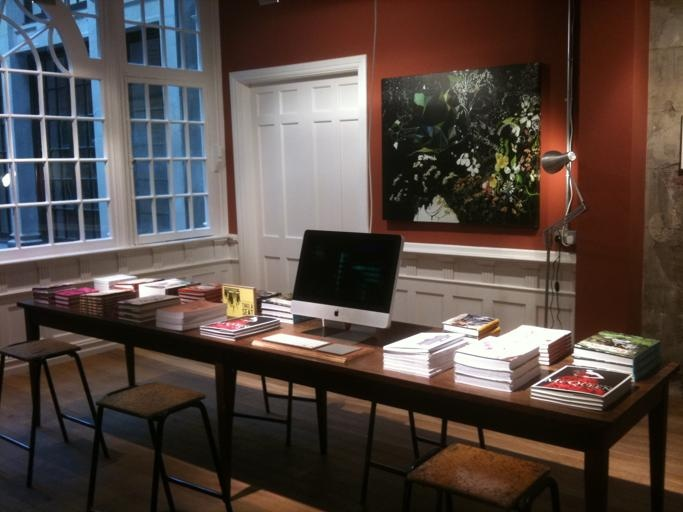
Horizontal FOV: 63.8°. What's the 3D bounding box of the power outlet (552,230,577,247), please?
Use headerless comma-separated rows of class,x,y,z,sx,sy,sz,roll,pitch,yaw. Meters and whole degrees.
power outlet,1.809,-0.163,4.466,0.112,0.137,0.192,-3,6,-42

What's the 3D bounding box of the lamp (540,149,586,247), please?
lamp,1.747,-0.440,4.362,0.321,0.790,0.518,2,10,21
